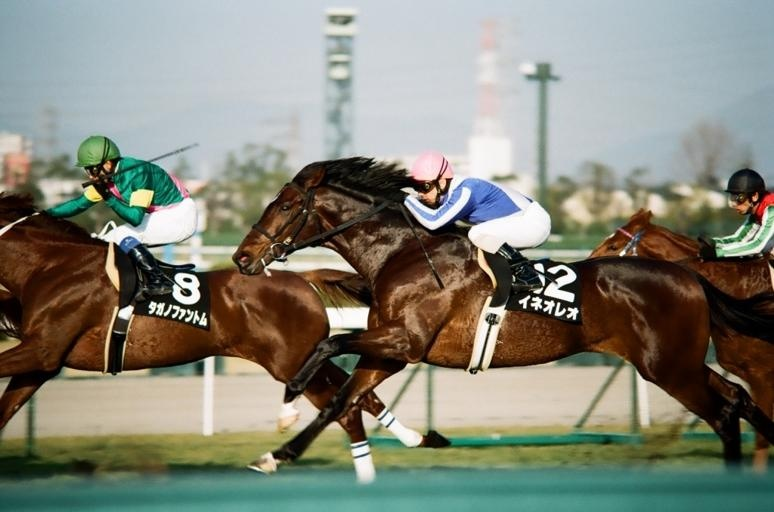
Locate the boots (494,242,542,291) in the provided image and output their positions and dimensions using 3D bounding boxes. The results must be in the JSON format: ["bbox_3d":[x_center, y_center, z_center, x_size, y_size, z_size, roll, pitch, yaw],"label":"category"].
[{"bbox_3d":[0.896,0.081,7.987,0.300,0.324,0.136,-1,5,-14],"label":"boots"}]

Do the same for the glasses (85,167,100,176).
[{"bbox_3d":[-2.086,-0.602,8.383,0.091,0.075,0.064,14,-27,6],"label":"glasses"}]

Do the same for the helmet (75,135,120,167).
[{"bbox_3d":[-2.050,-0.777,8.432,0.417,0.202,0.288,-9,20,-13],"label":"helmet"}]

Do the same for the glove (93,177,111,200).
[{"bbox_3d":[-2.000,-0.473,8.302,0.111,0.135,0.056,-3,30,40],"label":"glove"}]

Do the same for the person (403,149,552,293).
[{"bbox_3d":[0.584,-0.273,8.192,1.088,0.779,0.640,10,14,-2],"label":"person"}]

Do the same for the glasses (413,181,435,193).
[{"bbox_3d":[0.253,-0.466,7.993,0.157,0.075,0.050,3,6,27],"label":"glasses"}]

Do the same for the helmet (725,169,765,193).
[{"bbox_3d":[2.658,-0.561,8.754,0.245,0.159,0.193,-2,3,-31],"label":"helmet"}]

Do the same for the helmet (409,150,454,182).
[{"bbox_3d":[0.309,-0.607,8.003,0.284,0.195,0.168,0,5,1],"label":"helmet"}]
